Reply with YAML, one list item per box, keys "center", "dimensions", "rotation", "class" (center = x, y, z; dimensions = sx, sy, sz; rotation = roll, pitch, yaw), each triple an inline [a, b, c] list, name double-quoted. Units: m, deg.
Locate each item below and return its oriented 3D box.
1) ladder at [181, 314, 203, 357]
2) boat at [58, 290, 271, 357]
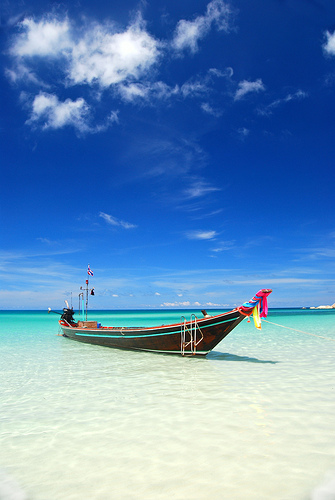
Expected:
- center: [1.241, 4.721, 20.626]
  dimensions: [1.095, 2.468, 1.729]
  rotation: [1, -4, -8]
  class: "ladder"
- center: [-1.546, 4.500, 23.931]
  dimensions: [16.913, 3.616, 2.491]
  rotation: [-7, -13, 36]
  class: "boat"
